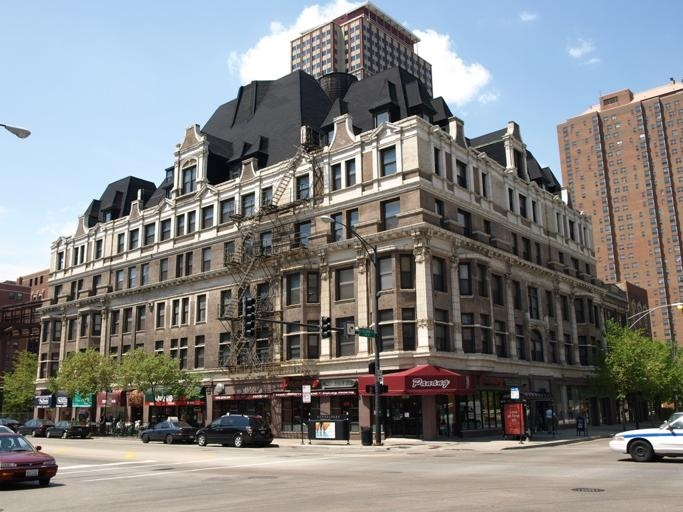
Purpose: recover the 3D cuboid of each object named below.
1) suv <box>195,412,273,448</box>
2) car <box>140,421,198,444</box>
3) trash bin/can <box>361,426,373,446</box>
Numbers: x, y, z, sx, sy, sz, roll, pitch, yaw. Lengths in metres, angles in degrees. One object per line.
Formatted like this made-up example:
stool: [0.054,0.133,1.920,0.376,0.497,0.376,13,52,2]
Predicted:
suv: [-7.190,11.448,45.474,5.425,2.008,1.746,-16,-25,36]
car: [-12.155,12.342,49.189,4.653,1.561,0.830,-13,-24,31]
trash bin/can: [1.661,11.547,44.836,0.713,1.248,1.332,-1,-20,1]
